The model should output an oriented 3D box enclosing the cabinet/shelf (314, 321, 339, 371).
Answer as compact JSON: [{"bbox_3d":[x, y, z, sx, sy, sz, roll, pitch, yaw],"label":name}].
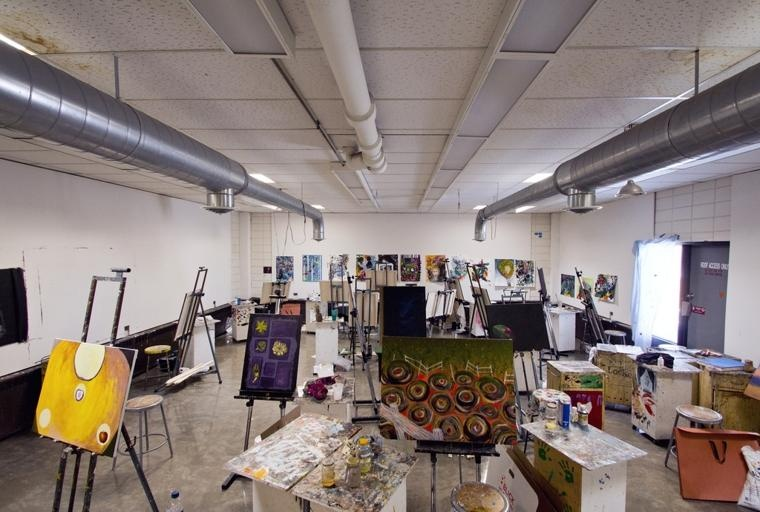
[{"bbox_3d":[-0.885,1.431,7.780,0.363,0.696,0.210,1,-3,-9],"label":"cabinet/shelf"}]

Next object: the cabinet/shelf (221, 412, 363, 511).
[{"bbox_3d":[-0.837,1.893,4.511,0.837,0.353,1.267,7,15,31],"label":"cabinet/shelf"}]

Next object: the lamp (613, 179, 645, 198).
[{"bbox_3d":[2.904,-0.789,5.348,0.284,0.196,0.200,3,-3,-30],"label":"lamp"}]

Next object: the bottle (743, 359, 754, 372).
[{"bbox_3d":[4.695,1.380,5.878,0.199,0.137,0.107,3,-4,-39],"label":"bottle"}]

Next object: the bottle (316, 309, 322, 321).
[{"bbox_3d":[-1.025,0.994,7.925,0.113,0.209,0.338,1,-3,-3],"label":"bottle"}]

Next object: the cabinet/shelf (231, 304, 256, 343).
[{"bbox_3d":[-2.962,1.398,9.917,0.491,0.829,0.393,1,-3,0],"label":"cabinet/shelf"}]

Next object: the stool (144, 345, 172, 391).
[{"bbox_3d":[-3.697,1.878,7.744,0.488,0.616,0.500,-11,-9,31],"label":"stool"}]

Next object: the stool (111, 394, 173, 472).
[{"bbox_3d":[-2.935,2.175,5.760,0.669,0.756,0.661,-2,2,-33],"label":"stool"}]

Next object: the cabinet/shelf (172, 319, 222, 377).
[{"bbox_3d":[-3.150,1.472,8.067,0.536,0.860,0.975,2,-3,-21],"label":"cabinet/shelf"}]

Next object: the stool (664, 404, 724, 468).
[{"bbox_3d":[3.792,2.177,5.636,0.568,0.716,0.851,-1,-3,32],"label":"stool"}]

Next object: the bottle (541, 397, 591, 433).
[{"bbox_3d":[1.968,1.695,5.022,0.469,0.319,0.352,1,-1,-16],"label":"bottle"}]
